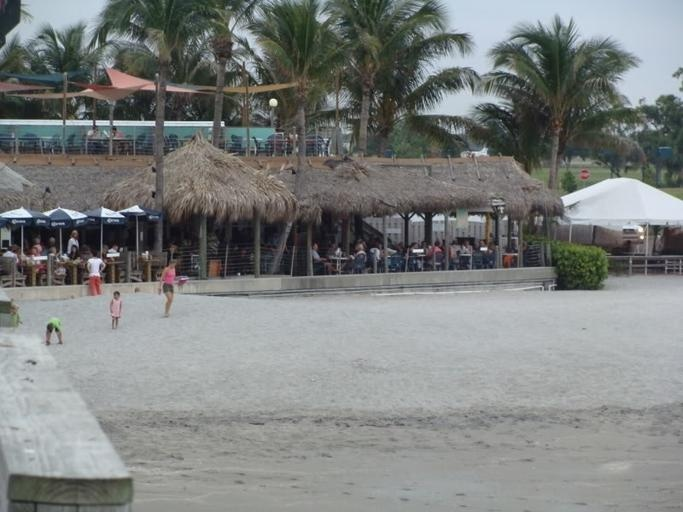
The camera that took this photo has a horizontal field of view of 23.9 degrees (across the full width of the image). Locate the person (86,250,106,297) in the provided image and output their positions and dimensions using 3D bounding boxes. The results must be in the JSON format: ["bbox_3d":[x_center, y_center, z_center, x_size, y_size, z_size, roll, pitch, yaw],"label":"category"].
[{"bbox_3d":[-8.453,0.683,55.407,0.617,1.329,1.808,0,-1,-9],"label":"person"}]

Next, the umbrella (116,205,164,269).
[{"bbox_3d":[-7.315,-0.871,57.816,1.624,2.049,1.728,0,9,-23],"label":"umbrella"}]

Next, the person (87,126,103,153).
[{"bbox_3d":[-9.810,-4.651,63.807,0.606,1.244,1.828,0,-1,-9],"label":"person"}]

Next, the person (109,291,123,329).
[{"bbox_3d":[-7.176,1.694,51.204,0.294,1.155,1.487,0,-1,-10],"label":"person"}]

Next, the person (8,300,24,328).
[{"bbox_3d":[-9.774,1.769,48.359,0.263,0.967,0.484,-3,2,12],"label":"person"}]

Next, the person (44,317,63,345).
[{"bbox_3d":[-8.753,2.275,49.070,0.529,0.779,1.657,0,-1,-10],"label":"person"}]
